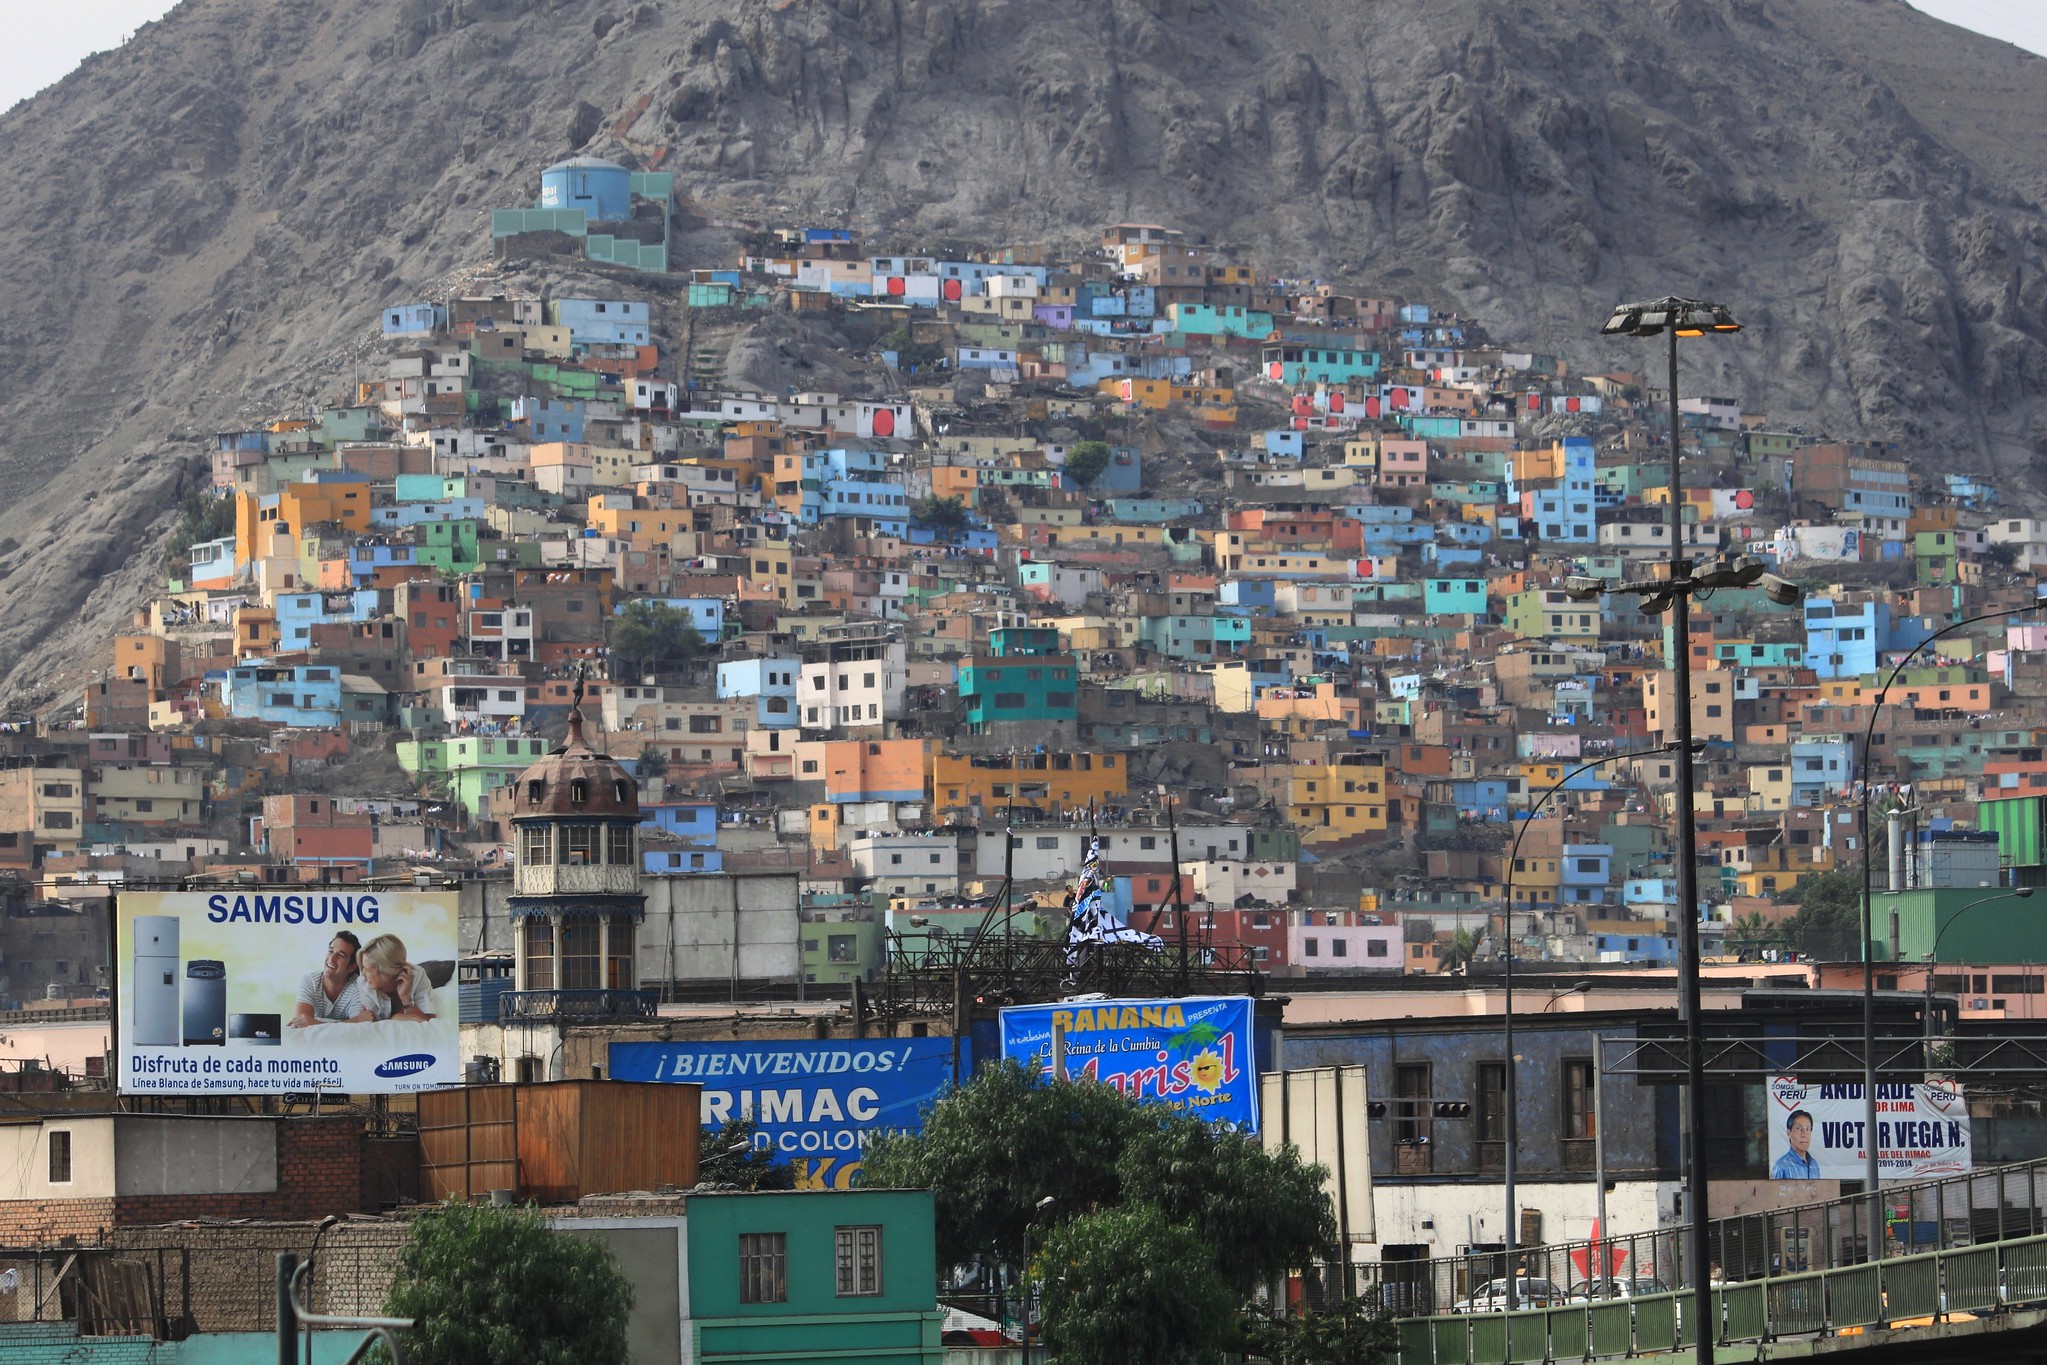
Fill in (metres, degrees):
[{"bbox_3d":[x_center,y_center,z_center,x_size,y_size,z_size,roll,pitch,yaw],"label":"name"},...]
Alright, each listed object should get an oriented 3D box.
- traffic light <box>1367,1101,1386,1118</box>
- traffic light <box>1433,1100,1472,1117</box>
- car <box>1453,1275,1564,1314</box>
[{"bbox_3d":[27.093,32.709,529.712,1.281,1.046,1.125,7,-17,-25],"label":"traffic light"},{"bbox_3d":[32.655,32.641,529.333,2.458,1.247,0.175,-2,-11,6],"label":"traffic light"},{"bbox_3d":[36.149,45.547,513.609,5.784,2.498,3.529,1,0,29],"label":"car"}]
